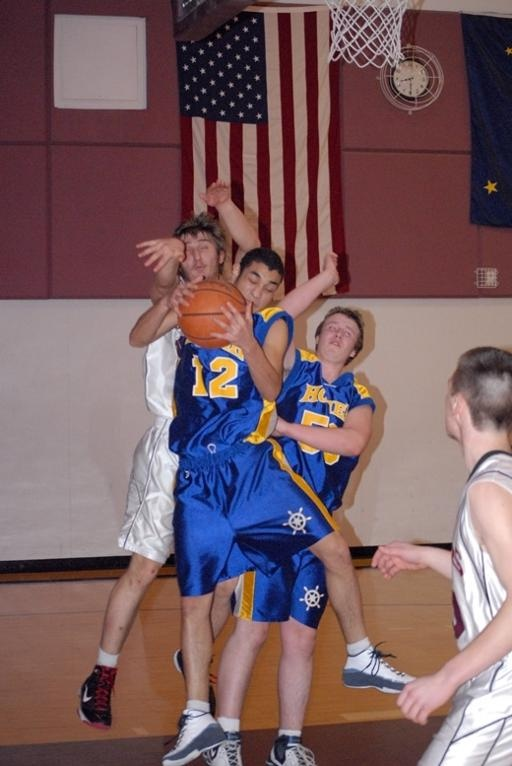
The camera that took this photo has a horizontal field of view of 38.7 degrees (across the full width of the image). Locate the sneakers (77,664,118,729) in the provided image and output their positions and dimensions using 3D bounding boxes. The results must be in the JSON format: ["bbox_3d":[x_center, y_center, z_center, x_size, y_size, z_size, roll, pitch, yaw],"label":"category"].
[{"bbox_3d":[-0.523,1.040,2.409,0.081,0.106,0.223,29,-8,-15],"label":"sneakers"}]

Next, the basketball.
[{"bbox_3d":[-0.105,-0.204,2.121,0.201,0.180,0.151,0,0,45],"label":"basketball"}]

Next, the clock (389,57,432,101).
[{"bbox_3d":[1.024,-2.025,4.825,0.241,0.231,0.055,-1,9,-11],"label":"clock"}]
